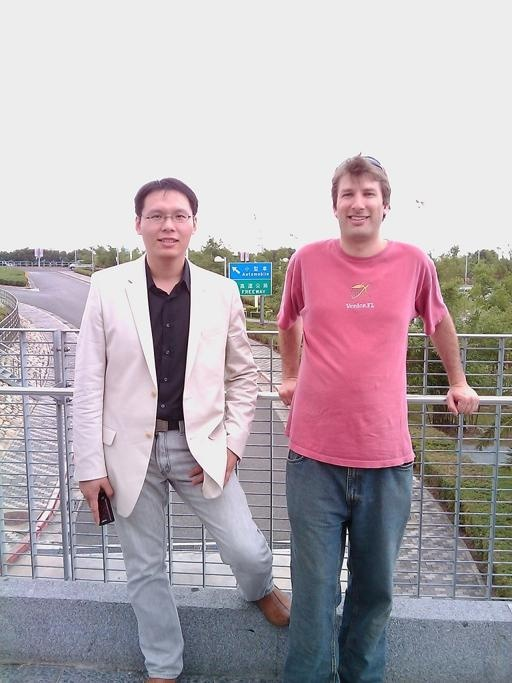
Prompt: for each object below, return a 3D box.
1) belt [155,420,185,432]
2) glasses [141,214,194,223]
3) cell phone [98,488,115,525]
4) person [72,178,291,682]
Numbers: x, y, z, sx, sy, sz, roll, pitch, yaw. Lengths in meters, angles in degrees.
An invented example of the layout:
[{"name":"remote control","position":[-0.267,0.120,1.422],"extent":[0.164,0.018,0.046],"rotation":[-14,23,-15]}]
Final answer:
[{"name":"belt","position":[-0.275,0.265,1.814],"extent":[0.088,0.040,0.019],"rotation":[-2,1,-13]},{"name":"glasses","position":[-0.276,-0.386,1.796],"extent":[0.140,0.032,0.040],"rotation":[-2,1,-13]},{"name":"cell phone","position":[-0.494,0.529,1.837],"extent":[0.026,0.094,0.089],"rotation":[2,-10,-42]},{"name":"person","position":[-0.256,0.298,1.914],"extent":[0.661,1.639,0.312],"rotation":[-2,1,-9]}]
